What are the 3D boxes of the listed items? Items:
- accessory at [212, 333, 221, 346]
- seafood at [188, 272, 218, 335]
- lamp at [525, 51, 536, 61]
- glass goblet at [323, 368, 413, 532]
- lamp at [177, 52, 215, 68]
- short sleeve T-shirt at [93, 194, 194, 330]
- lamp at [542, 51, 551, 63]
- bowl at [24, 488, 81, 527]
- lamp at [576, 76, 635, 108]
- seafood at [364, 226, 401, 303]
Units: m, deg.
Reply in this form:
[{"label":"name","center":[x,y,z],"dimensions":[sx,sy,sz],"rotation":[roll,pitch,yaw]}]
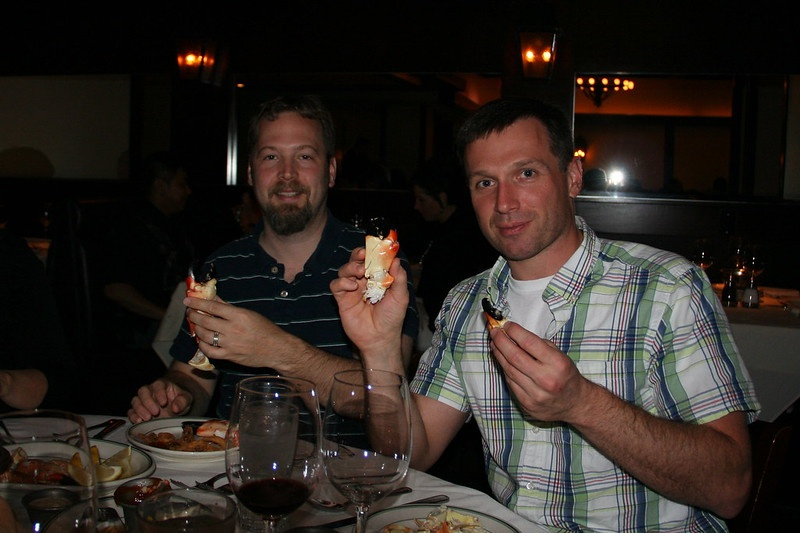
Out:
[{"label":"accessory","center":[-0.596,0.238,1.968],"dimensions":[0.027,0.036,0.035],"rotation":[-4,-25,7]},{"label":"seafood","center":[-0.667,0.124,2.086],"dimensions":[0.124,0.207,0.061],"rotation":[-4,-16,40]},{"label":"lamp","center":[1.244,-2.016,5.802],"dimensions":[0.090,0.085,0.022],"rotation":[-14,-4,28]},{"label":"glass goblet","center":[-0.074,0.465,1.506],"dimensions":[0.201,0.401,0.192],"rotation":[2,7,17]},{"label":"lamp","center":[-2.190,-2.204,6.529],"dimensions":[0.222,0.068,0.214],"rotation":[1,5,1]},{"label":"short sleeve T-shirt","center":[-1.742,-0.021,4.473],"dimensions":[0.426,0.741,0.784],"rotation":[19,13,0]},{"label":"lamp","center":[1.387,-1.998,5.765],"dimensions":[0.069,0.085,0.091],"rotation":[3,4,5]},{"label":"bowl","center":[-0.717,0.499,1.251],"dimensions":[0.117,0.073,0.029],"rotation":[0,7,-2]},{"label":"lamp","center":[2.324,-1.965,6.800],"dimensions":[0.429,0.203,0.266],"rotation":[4,-18,4]},{"label":"seafood","center":[-0.067,0.005,1.972],"dimensions":[0.107,0.239,0.088],"rotation":[2,7,18]}]
